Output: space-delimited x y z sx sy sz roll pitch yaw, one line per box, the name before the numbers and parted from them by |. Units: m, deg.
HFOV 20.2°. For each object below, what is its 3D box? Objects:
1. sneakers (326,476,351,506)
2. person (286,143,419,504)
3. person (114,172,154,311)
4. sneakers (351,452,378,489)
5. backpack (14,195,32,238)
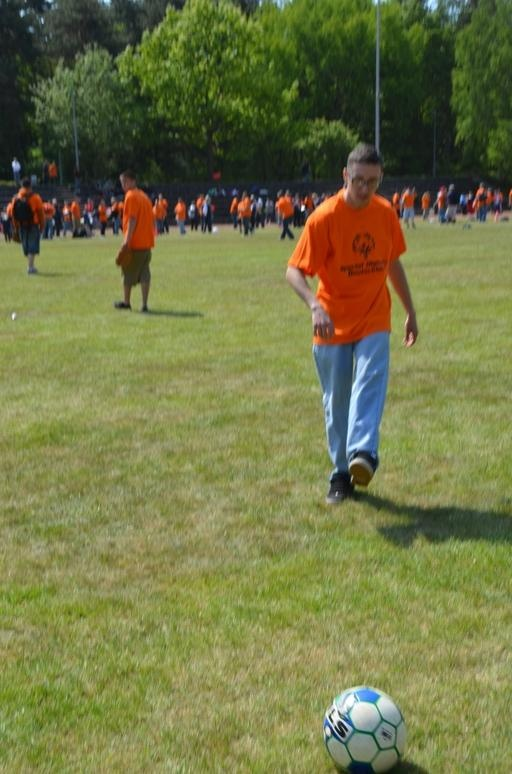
sneakers | 0.422 0.513 7.204 0.063 0.148 0.252 0 -3 5
person | 0.485 -0.307 7.030 0.598 1.780 0.843 4 8 35
person | -1.298 -1.542 15.139 0.422 1.610 2.495 0 10 -5
sneakers | 0.493 0.378 6.604 0.125 0.167 0.204 1 9 8
backpack | -3.418 -2.548 20.816 0.194 0.533 0.355 -1 5 -23
